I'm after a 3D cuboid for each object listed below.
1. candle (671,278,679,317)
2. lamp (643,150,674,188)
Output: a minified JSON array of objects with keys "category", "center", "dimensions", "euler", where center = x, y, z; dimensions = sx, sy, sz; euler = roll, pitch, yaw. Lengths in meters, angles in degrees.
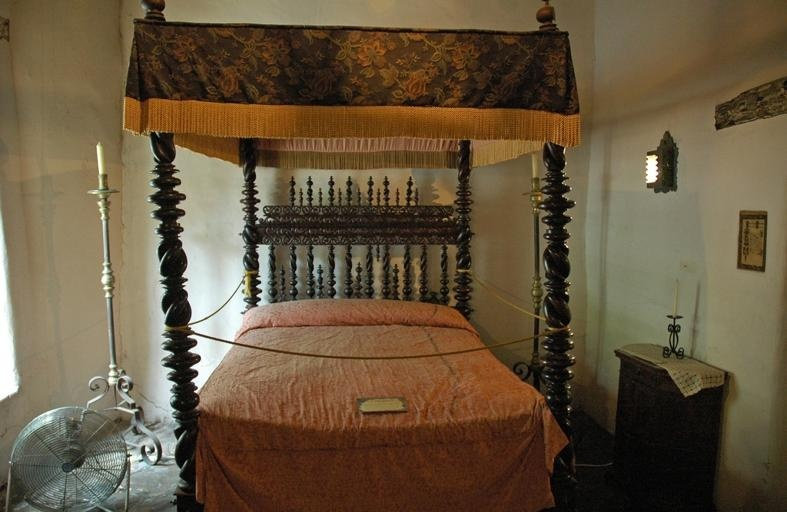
[{"category":"candle","center":[2.221,0.323,5.396],"dimensions":[0.045,0.275,0.167],"euler":[3,5,22]},{"category":"lamp","center":[2.207,-0.703,5.627],"dimensions":[0.212,0.341,0.268],"euler":[0,2,-17]}]
